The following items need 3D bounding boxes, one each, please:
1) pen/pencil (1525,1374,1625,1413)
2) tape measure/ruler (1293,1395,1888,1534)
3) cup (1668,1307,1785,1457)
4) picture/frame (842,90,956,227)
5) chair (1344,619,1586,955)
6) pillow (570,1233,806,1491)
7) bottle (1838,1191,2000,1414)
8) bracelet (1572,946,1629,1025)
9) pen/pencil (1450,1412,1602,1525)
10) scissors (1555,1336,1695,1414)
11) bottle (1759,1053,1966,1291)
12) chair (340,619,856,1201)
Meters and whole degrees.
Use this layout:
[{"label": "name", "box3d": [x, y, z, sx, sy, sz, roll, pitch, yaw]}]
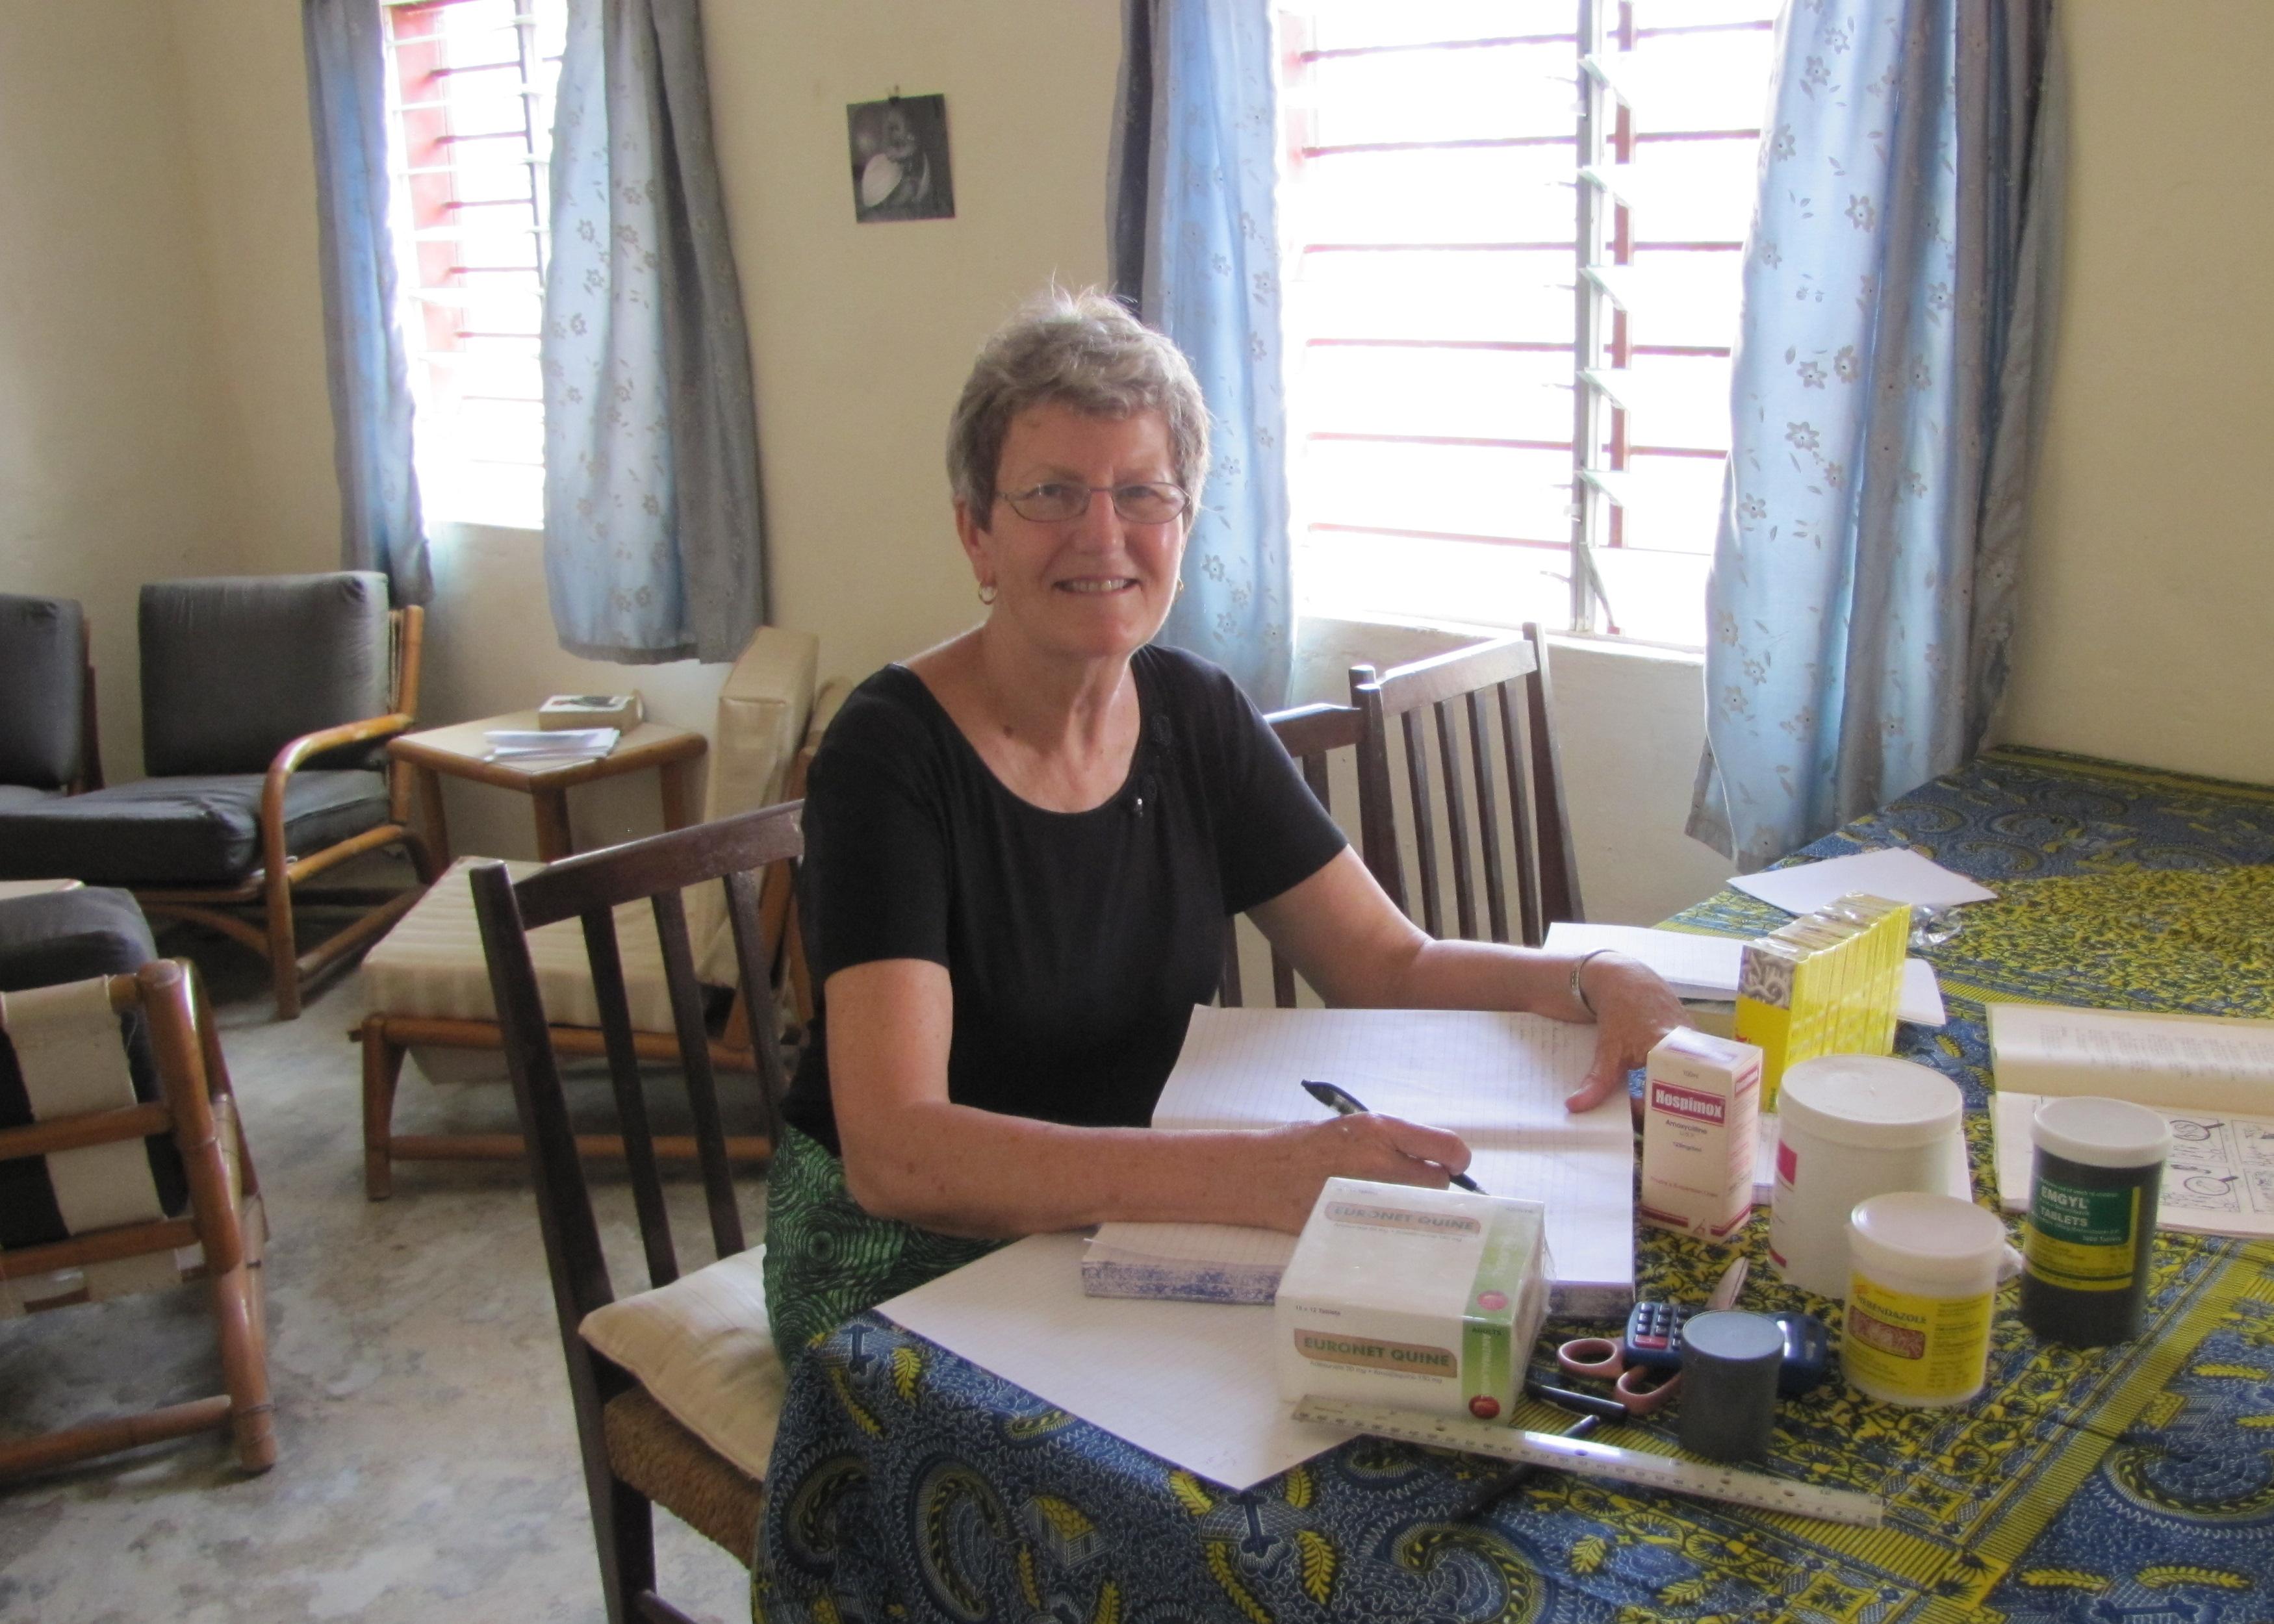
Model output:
[{"label": "pen/pencil", "box3d": [0.307, 0.415, 1.202, 0.058, 0.014, 0.014, 3, 9, 42]}, {"label": "tape measure/ruler", "box3d": [0.304, 0.449, 1.158, 0.352, 0.007, 0.041, 8, 47, 6]}, {"label": "cup", "box3d": [0.404, 0.394, 1.202, 0.082, 0.094, 0.084, -1, 6, 0]}, {"label": "picture/frame", "box3d": [-0.485, -1.369, 3.533, 0.280, 0.281, 0.032, 8, 24, 31]}, {"label": "chair", "box3d": [0.501, -0.053, 2.532, 0.294, 0.519, 0.322, -32, 41, -32]}, {"label": "pillow", "box3d": [-0.429, 0.539, 1.694, 0.168, 0.043, 0.173, -20, 39, -39]}, {"label": "bottle", "box3d": [0.559, 0.352, 1.273, 0.105, 0.133, 0.136, 9, 15, 35]}, {"label": "bracelet", "box3d": [0.446, 0.168, 1.643, 0.023, 0.060, 0.050, 9, -15, 5]}, {"label": "pen/pencil", "box3d": [0.264, 0.452, 1.158, 0.013, 0.012, 0.109, 11, 31, 43]}, {"label": "scissors", "box3d": [0.345, 0.405, 1.224, 0.047, 0.011, 0.048, 11, 24, 35]}, {"label": "bottle", "box3d": [0.559, 0.260, 1.382, 0.160, 0.176, 0.159, -20, 24, -37]}, {"label": "chair", "box3d": [-1.215, 0.156, 3.795, 1.048, 1.272, 1.384, 2, 13, 8]}]
